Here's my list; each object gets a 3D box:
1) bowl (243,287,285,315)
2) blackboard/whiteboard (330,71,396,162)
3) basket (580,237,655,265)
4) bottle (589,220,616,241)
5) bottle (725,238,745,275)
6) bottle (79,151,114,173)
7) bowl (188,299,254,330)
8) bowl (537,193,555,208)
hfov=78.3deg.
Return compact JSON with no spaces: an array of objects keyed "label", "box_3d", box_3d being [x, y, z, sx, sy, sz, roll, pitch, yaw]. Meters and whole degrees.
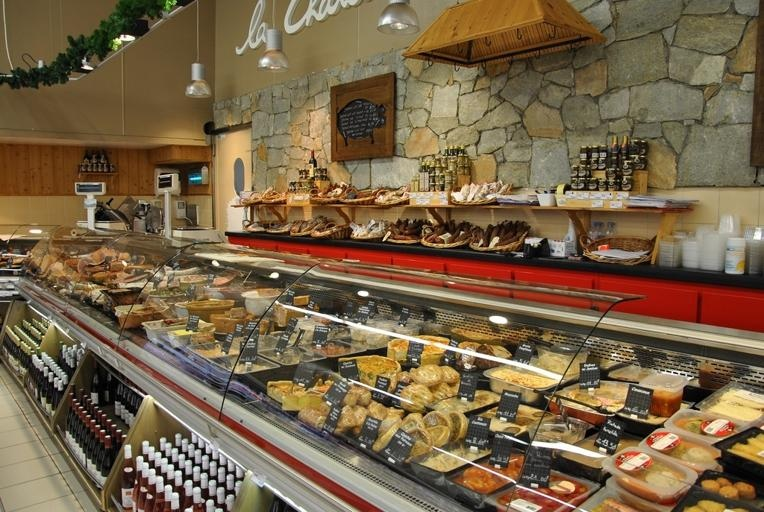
[{"label":"bowl","box_3d":[-0.598,0.221,2.284,0.243,0.120,0.105,4,9,42]},{"label":"blackboard/whiteboard","box_3d":[-0.242,-1.854,6.289,0.116,1.198,1.546,-2,3,-43]},{"label":"basket","box_3d":[1.942,-0.047,3.967,0.565,0.194,0.540,1,7,24]},{"label":"bottle","box_3d":[1.959,-0.225,4.272,0.155,0.201,0.232,1,4,-29]},{"label":"bottle","box_3d":[2.495,0.004,3.371,0.122,0.251,0.192,2,8,34]},{"label":"bottle","box_3d":[-5.668,-1.845,9.344,0.556,0.413,0.225,0,0,-37]},{"label":"bowl","box_3d":[-0.821,0.296,2.413,0.280,0.085,0.193,6,4,-29]},{"label":"bowl","box_3d":[1.488,-0.501,4.351,0.166,0.102,0.131,3,6,27]}]
